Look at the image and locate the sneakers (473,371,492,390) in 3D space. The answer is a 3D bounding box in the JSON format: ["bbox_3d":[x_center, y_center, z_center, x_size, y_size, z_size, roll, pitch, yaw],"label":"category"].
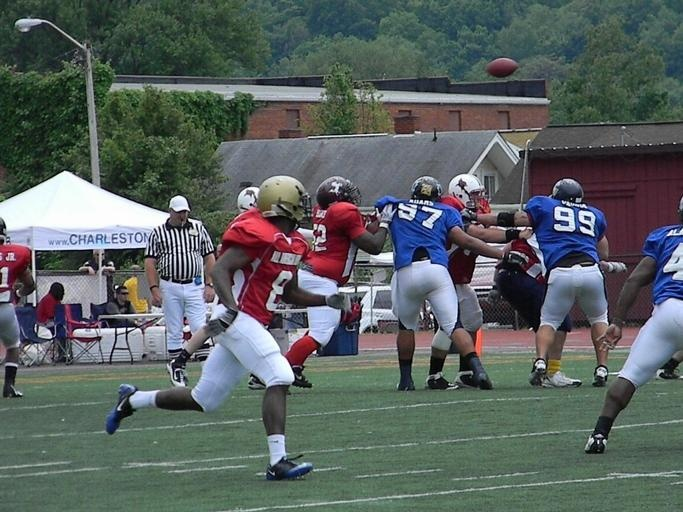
[{"bbox_3d":[1.602,1.397,13.702,0.120,0.155,0.351,-7,-17,12],"label":"sneakers"}]

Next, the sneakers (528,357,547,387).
[{"bbox_3d":[2.198,1.255,13.467,0.153,0.363,0.179,10,34,8],"label":"sneakers"}]

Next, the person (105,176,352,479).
[{"bbox_3d":[-0.858,0.539,10.150,1.618,2.445,0.836,3,3,25],"label":"person"}]

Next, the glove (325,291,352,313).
[{"bbox_3d":[-0.040,0.377,10.089,0.201,0.123,0.104,6,14,26],"label":"glove"}]

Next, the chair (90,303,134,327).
[{"bbox_3d":[-4.191,1.042,21.432,0.511,0.580,0.642,-4,-5,39],"label":"chair"}]

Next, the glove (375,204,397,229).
[{"bbox_3d":[0.486,-0.453,13.557,0.259,0.243,0.070,-2,13,-44],"label":"glove"}]

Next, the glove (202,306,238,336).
[{"bbox_3d":[-0.982,0.534,9.915,0.294,0.181,0.127,-36,-20,-3],"label":"glove"}]

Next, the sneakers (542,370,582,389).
[{"bbox_3d":[2.520,1.425,13.926,0.511,0.221,0.175,-1,-2,9],"label":"sneakers"}]

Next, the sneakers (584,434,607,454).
[{"bbox_3d":[2.166,1.579,10.277,0.099,0.117,0.266,2,-2,8],"label":"sneakers"}]

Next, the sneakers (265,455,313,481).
[{"bbox_3d":[-0.480,1.709,9.805,0.446,0.182,0.161,-8,-31,11],"label":"sneakers"}]

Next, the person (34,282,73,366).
[{"bbox_3d":[-4.995,1.081,20.790,0.665,1.286,0.576,5,-2,-8],"label":"person"}]

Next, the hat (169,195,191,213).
[{"bbox_3d":[-2.092,-0.678,15.360,0.213,0.163,0.290,1,-3,-24],"label":"hat"}]

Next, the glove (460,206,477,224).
[{"bbox_3d":[1.484,-0.479,13.988,0.183,0.140,0.144,41,7,20],"label":"glove"}]

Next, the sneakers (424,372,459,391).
[{"bbox_3d":[1.141,1.450,14.139,0.460,0.199,0.150,1,0,3],"label":"sneakers"}]

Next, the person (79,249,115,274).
[{"bbox_3d":[-5.923,0.097,28.706,0.575,0.416,0.745,1,-3,-33],"label":"person"}]

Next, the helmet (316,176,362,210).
[{"bbox_3d":[-0.050,-0.765,13.745,0.456,0.340,0.330,-17,13,-15],"label":"helmet"}]

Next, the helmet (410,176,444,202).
[{"bbox_3d":[0.966,-0.787,13.843,0.273,0.279,0.324,6,6,10],"label":"helmet"}]

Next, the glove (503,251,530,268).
[{"bbox_3d":[1.989,0.017,13.776,0.174,0.102,0.228,18,-6,-43],"label":"glove"}]

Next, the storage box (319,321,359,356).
[{"bbox_3d":[0.072,1.430,20.910,0.913,0.642,0.775,-2,-1,6],"label":"storage box"}]

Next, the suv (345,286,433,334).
[{"bbox_3d":[0.945,1.193,27.657,1.982,0.981,1.142,-6,-1,15],"label":"suv"}]

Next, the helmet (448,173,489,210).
[{"bbox_3d":[1.522,-0.786,14.505,0.442,0.397,0.374,1,6,12],"label":"helmet"}]

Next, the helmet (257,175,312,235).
[{"bbox_3d":[-0.491,-0.483,10.344,0.482,0.433,0.370,-4,11,-26],"label":"helmet"}]

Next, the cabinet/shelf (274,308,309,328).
[{"bbox_3d":[-0.973,1.164,23.555,0.735,0.190,0.726,-2,2,2],"label":"cabinet/shelf"}]
